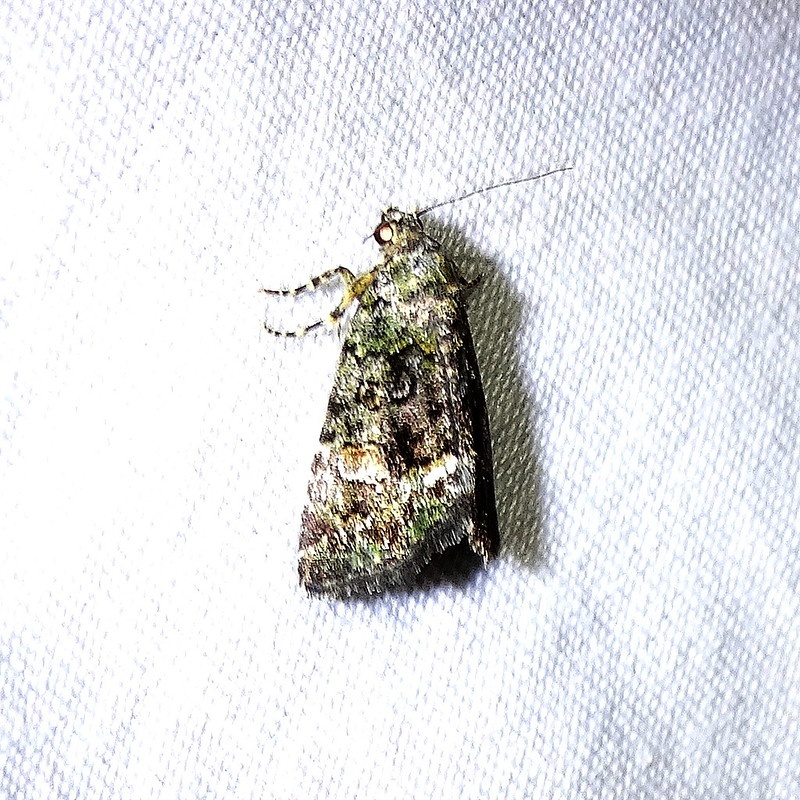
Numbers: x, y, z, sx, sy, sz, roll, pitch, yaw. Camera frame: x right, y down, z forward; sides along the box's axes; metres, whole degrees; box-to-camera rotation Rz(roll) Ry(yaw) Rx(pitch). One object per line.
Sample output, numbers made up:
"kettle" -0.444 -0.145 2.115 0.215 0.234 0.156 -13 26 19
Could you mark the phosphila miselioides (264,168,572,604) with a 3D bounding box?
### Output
"phosphila miselioides" -0.031 0.009 1.525 0.286 0.383 0.256 -11 26 0
